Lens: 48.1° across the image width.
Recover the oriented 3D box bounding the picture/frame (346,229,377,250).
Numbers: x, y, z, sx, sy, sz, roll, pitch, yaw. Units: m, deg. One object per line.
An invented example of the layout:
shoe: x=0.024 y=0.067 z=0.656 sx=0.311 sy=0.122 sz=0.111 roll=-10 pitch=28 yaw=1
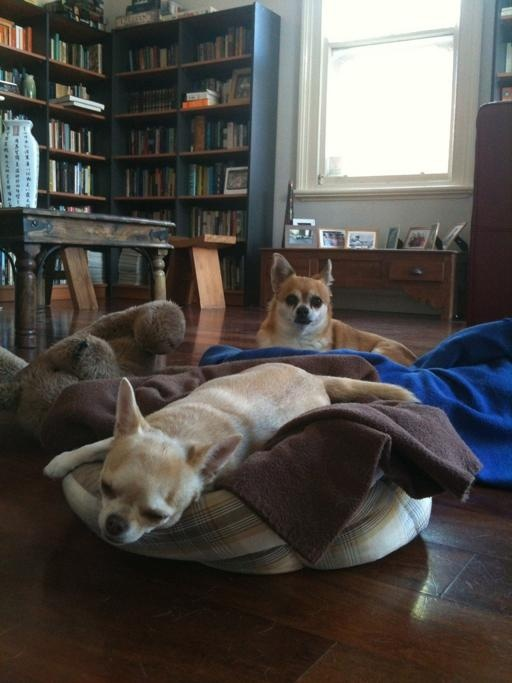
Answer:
picture/frame: x=0.835 y=-0.802 z=4.526 sx=0.247 sy=0.195 sz=0.019 roll=3 pitch=-7 yaw=18

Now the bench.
bench: x=-0.495 y=-0.583 z=4.738 sx=0.345 sy=0.549 sz=0.606 roll=-2 pitch=6 yaw=-38

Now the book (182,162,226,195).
book: x=-0.424 y=-1.438 z=5.263 sx=0.334 sy=0.404 sz=0.437 roll=4 pitch=9 yaw=21

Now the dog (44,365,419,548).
dog: x=-0.046 y=0.131 z=0.814 sx=0.172 sy=0.208 sz=0.492 roll=5 pitch=9 yaw=22

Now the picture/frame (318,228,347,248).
picture/frame: x=0.615 y=-0.829 z=4.621 sx=0.208 sy=0.135 sz=0.014 roll=1 pitch=-18 yaw=-2

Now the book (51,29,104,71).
book: x=-1.617 y=-2.617 z=5.238 sx=0.397 sy=0.196 sz=0.422 roll=14 pitch=16 yaw=40

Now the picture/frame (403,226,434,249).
picture/frame: x=1.222 y=-0.774 z=4.288 sx=0.247 sy=0.238 sz=0.019 roll=12 pitch=-21 yaw=43

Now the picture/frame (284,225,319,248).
picture/frame: x=0.376 y=-0.852 z=4.668 sx=0.350 sy=0.234 sz=0.180 roll=0 pitch=-3 yaw=-1

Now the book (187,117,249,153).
book: x=-0.313 y=-1.814 z=5.017 sx=0.472 sy=0.420 sz=0.249 roll=2 pitch=1 yaw=22

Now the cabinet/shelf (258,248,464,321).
cabinet/shelf: x=0.759 y=-0.448 z=4.387 sx=1.444 sy=0.478 sz=0.452 roll=3 pitch=3 yaw=18

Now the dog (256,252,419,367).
dog: x=0.264 y=-0.133 z=2.101 sx=0.460 sy=0.359 sz=0.630 roll=1 pitch=8 yaw=-9

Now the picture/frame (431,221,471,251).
picture/frame: x=1.399 y=-0.747 z=4.199 sx=0.238 sy=0.244 sz=0.288 roll=1 pitch=9 yaw=0

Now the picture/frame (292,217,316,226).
picture/frame: x=0.403 y=-1.004 z=4.819 sx=0.191 sy=0.085 sz=0.269 roll=3 pitch=8 yaw=7
